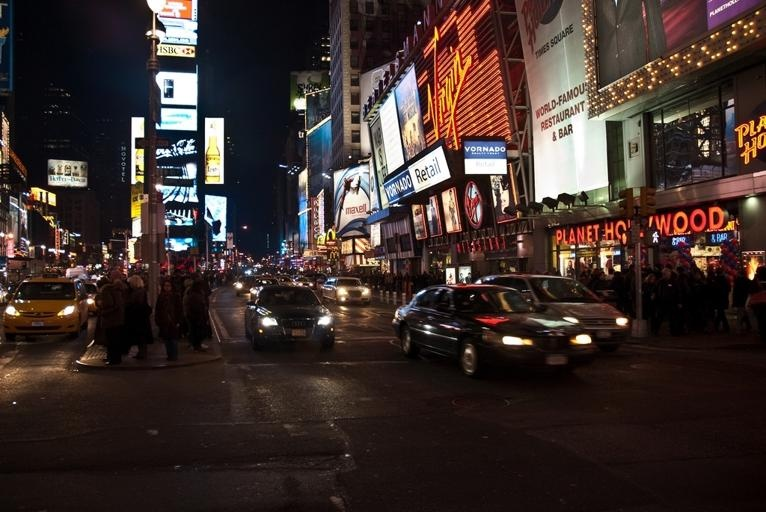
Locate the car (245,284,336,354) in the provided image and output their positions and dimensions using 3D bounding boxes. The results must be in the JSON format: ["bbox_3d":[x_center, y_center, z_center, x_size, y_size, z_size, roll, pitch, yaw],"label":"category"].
[{"bbox_3d":[-2.768,1.799,19.198,2.249,1.463,2.385,-2,0,-24],"label":"car"}]

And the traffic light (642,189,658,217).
[{"bbox_3d":[8.220,-1.672,20.275,0.376,0.931,0.563,-2,0,21],"label":"traffic light"}]

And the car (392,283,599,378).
[{"bbox_3d":[2.043,1.639,15.309,1.855,1.280,4.398,1,-4,-21],"label":"car"}]
